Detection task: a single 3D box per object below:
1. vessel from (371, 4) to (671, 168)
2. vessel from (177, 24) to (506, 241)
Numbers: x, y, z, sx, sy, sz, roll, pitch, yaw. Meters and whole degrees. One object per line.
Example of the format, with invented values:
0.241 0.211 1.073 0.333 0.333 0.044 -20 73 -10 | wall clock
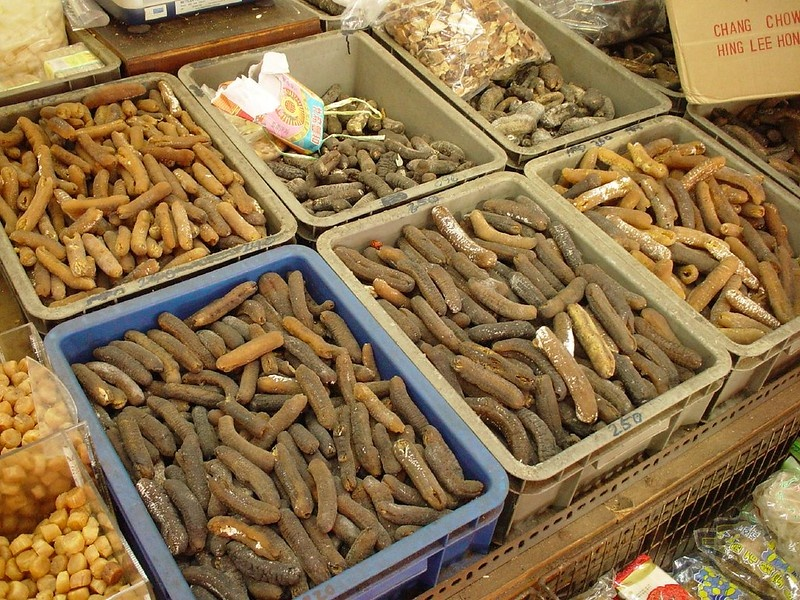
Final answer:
0.703 -1.010 3.504 0.878 0.430 1.378 -28 57 -26 | vessel
-0.143 -0.912 2.929 1.065 0.464 1.361 -27 63 -26 | vessel
